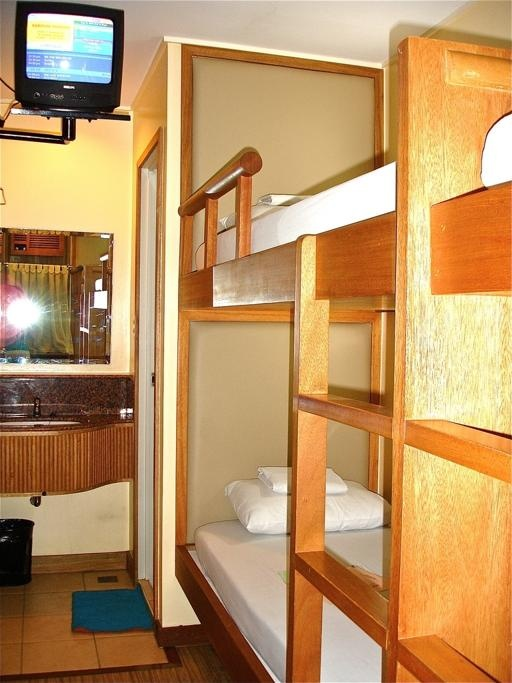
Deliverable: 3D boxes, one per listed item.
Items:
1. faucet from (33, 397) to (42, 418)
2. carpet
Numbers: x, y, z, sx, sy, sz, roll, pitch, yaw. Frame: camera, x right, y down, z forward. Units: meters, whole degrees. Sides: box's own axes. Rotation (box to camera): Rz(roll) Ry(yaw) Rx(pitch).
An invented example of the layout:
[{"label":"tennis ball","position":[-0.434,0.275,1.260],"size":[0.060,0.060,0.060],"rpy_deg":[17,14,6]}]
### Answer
[{"label":"faucet","position":[-1.522,0.449,3.529],"size":[0.055,0.104,0.162],"rpy_deg":[2,-2,-24]},{"label":"carpet","position":[-0.889,1.624,3.106],"size":[0.450,0.036,0.616],"rpy_deg":[3,-2,-20]}]
